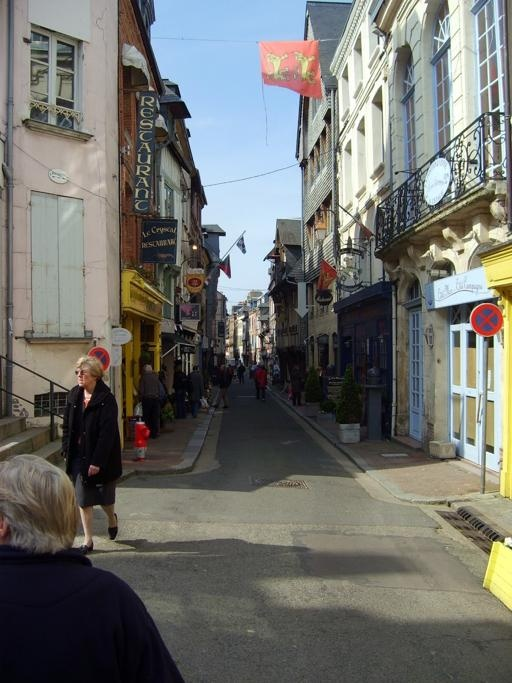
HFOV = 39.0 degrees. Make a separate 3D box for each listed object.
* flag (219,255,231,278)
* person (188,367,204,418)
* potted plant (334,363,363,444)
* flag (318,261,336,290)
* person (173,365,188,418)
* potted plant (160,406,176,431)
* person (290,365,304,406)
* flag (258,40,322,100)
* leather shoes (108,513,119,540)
[{"bbox_3d":[-1.430,-3.289,31.664,0.393,0.857,0.842,0,-1,10],"label":"flag"},{"bbox_3d":[-1.868,1.470,21.648,0.409,1.493,1.531,1,-1,-5],"label":"person"},{"bbox_3d":[1.853,1.316,14.764,0.505,1.440,1.037,1,-1,7],"label":"potted plant"},{"bbox_3d":[2.145,-2.118,22.372,0.551,0.957,1.497,1,-1,5],"label":"flag"},{"bbox_3d":[-2.244,1.414,21.066,0.413,1.564,1.218,1,-1,-6],"label":"person"},{"bbox_3d":[-1.972,1.746,16.442,0.405,0.669,0.385,3,-8,-38],"label":"potted plant"},{"bbox_3d":[1.450,1.675,27.304,0.392,1.407,1.301,1,-1,1],"label":"person"},{"bbox_3d":[0.659,-5.182,13.770,1.127,1.106,0.739,0,-1,20],"label":"flag"},{"bbox_3d":[-1.229,1.602,6.152,0.065,0.272,0.063,1,3,-2],"label":"leather shoes"}]
